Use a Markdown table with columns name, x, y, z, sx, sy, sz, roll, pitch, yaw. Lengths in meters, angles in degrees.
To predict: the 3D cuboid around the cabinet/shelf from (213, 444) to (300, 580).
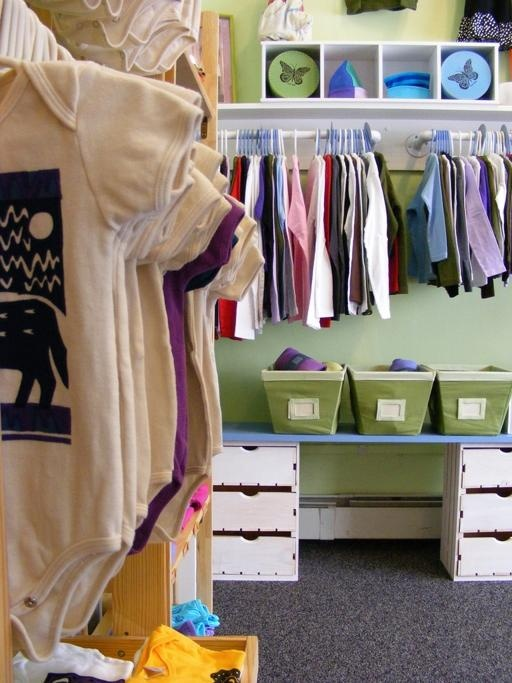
| name | x | y | z | sx | sy | sz | roll | pitch | yaw |
| --- | --- | --- | --- | --- | --- | --- | --- | --- | --- |
| cabinet/shelf | -0.060 | 0.617 | 2.474 | 0.385 | 0.495 | 0.243 | 6 | -6 | 5 |

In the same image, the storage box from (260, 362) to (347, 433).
| name | x | y | z | sx | sy | sz | roll | pitch | yaw |
| --- | --- | --- | --- | --- | --- | --- | --- | --- | --- |
| storage box | 0.183 | 0.129 | 2.531 | 0.309 | 0.279 | 0.425 | -2 | 26 | 1 |

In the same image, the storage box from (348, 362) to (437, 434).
| name | x | y | z | sx | sy | sz | roll | pitch | yaw |
| --- | --- | --- | --- | --- | --- | --- | --- | --- | --- |
| storage box | 0.488 | 0.200 | 2.336 | 0.250 | 0.201 | 0.202 | -1 | 0 | 2 |
